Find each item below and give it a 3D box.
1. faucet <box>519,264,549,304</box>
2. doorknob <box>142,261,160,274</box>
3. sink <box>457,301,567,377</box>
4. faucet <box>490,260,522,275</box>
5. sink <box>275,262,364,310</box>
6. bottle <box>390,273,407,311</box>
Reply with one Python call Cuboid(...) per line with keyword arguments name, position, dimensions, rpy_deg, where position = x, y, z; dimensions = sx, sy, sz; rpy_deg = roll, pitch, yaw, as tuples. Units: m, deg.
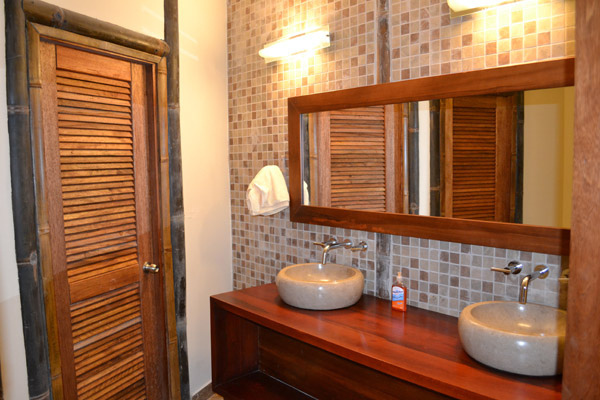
Cuboid(name="faucet", position=(1.169, 0.428, 2.210), dimensions=(0.189, 0.189, 0.078), rpy_deg=(-7, 9, -41))
Cuboid(name="doorknob", position=(-0.998, 0.452, 2.941), dimensions=(0.045, 0.095, 0.120), rpy_deg=(4, 8, 35))
Cuboid(name="sink", position=(0.996, 0.577, 2.089), dimensions=(0.368, 0.142, 0.372), rpy_deg=(-4, 3, -21))
Cuboid(name="faucet", position=(1.094, 0.350, 2.303), dimensions=(0.125, 0.064, 0.072), rpy_deg=(-6, 7, -43))
Cuboid(name="sink", position=(0.115, 0.541, 2.819), dimensions=(0.571, 0.186, 0.565), rpy_deg=(-2, 5, -34))
Cuboid(name="bottle", position=(0.585, 0.527, 2.627), dimensions=(0.080, 0.218, 0.162), rpy_deg=(0, 7, 10))
